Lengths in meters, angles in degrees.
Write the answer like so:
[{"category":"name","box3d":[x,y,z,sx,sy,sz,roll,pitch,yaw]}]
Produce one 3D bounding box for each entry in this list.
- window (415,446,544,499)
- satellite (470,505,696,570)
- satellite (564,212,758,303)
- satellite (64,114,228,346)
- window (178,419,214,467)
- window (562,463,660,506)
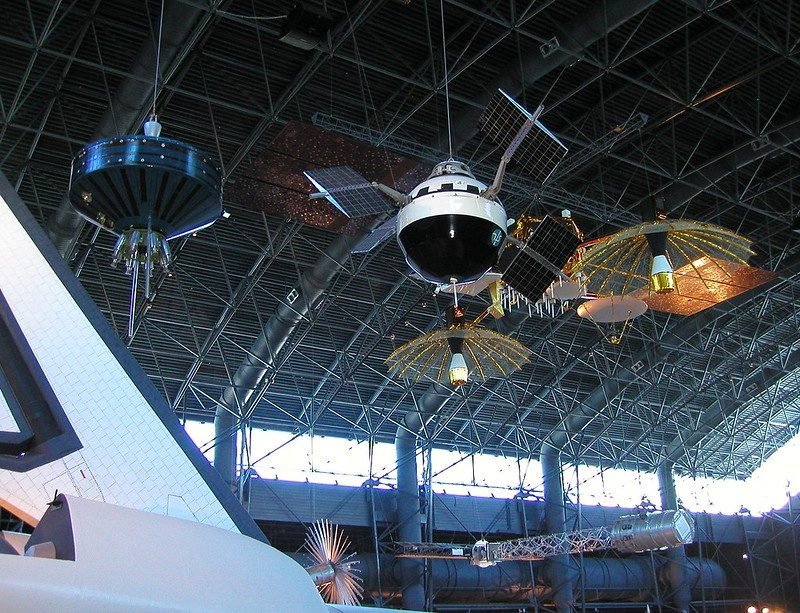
[{"category":"window","box3d":[5.302,10.154,51.610,10.855,3.514,0.171,14,-42,-42]},{"category":"satellite","box3d":[9.967,13.168,48.065,3.214,2.422,15.138,7,-20,-39]},{"category":"satellite","box3d":[7.150,-1.476,23.243,4.696,1.659,4.672,-13,-25,28]},{"category":"satellite","box3d":[-5.558,-1.903,18.310,3.418,4.485,3.455,-21,-25,34]},{"category":"window","box3d":[-9.821,6.645,41.844,1.343,2.449,2.184,1,-24,-14]},{"category":"window","box3d":[13.567,11.647,55.137,4.736,2.437,0.068,9,-34,-24]}]
